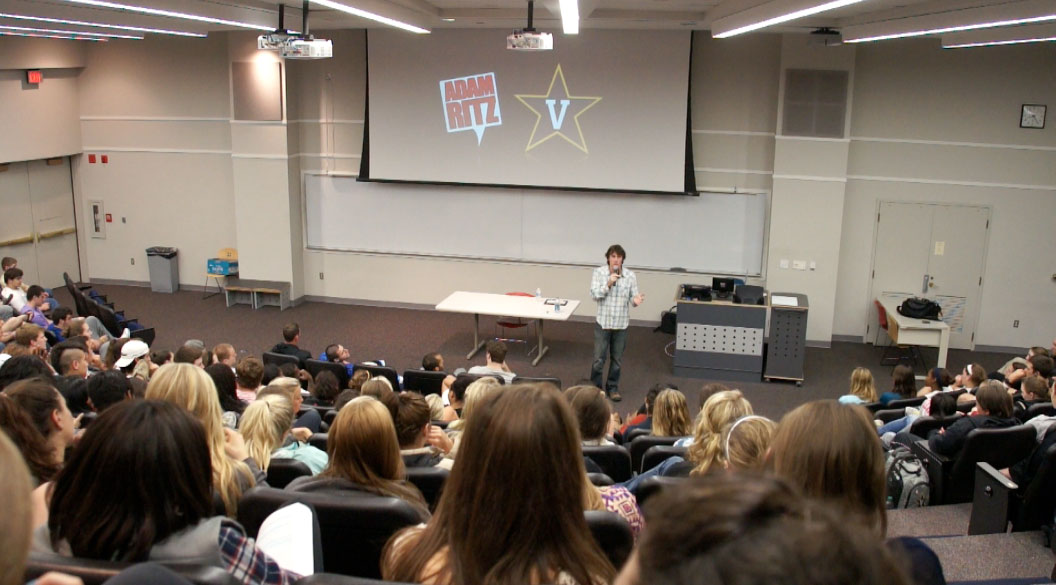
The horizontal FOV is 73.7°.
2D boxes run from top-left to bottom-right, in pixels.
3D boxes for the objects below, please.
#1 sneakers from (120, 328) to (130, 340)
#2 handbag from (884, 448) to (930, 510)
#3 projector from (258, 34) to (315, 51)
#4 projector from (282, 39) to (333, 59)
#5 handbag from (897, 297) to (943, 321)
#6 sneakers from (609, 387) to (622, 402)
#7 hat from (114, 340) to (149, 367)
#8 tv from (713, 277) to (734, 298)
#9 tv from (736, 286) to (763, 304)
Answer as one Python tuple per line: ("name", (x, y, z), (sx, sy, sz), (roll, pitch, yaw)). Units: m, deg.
("sneakers", (-5.588, 0.562, 9.782), (0.094, 0.109, 0.265), (4, 11, -16))
("handbag", (3.423, 1.643, 6.302), (0.398, 0.494, 0.262), (4, 2, 17))
("projector", (-3.073, -3.212, 9.005), (0.564, 0.172, 0.425), (12, 15, 43))
("projector", (-2.731, -3.056, 8.819), (0.487, 0.190, 0.373), (1, 17, 0))
("handbag", (6.147, 0.250, 11.045), (0.577, 0.314, 0.284), (4, 2, 22))
("sneakers", (1.283, 1.487, 10.294), (0.119, 0.089, 0.223), (-3, 6, -16))
("hat", (-4.754, 0.722, 8.458), (0.257, 0.187, 0.381), (1, 9, 20))
("tv", (3.038, -0.088, 10.951), (0.334, 0.237, 0.181), (3, 2, 9))
("tv", (3.398, 0.030, 10.808), (0.431, 0.227, 0.358), (3, 2, 14))
